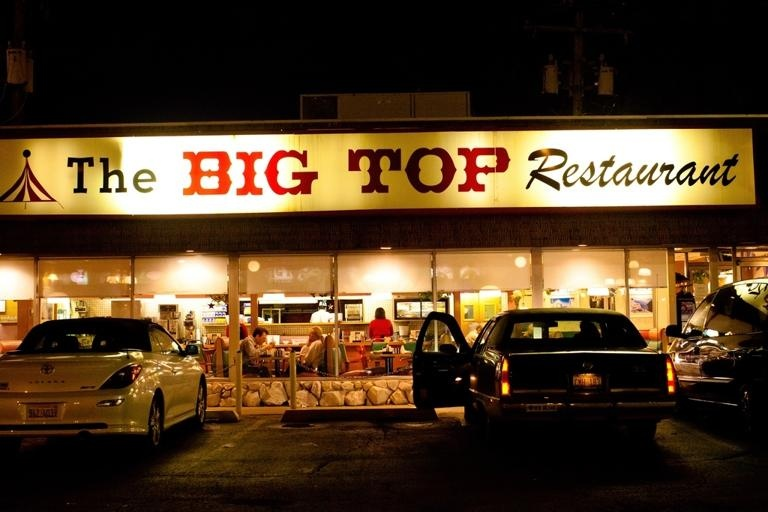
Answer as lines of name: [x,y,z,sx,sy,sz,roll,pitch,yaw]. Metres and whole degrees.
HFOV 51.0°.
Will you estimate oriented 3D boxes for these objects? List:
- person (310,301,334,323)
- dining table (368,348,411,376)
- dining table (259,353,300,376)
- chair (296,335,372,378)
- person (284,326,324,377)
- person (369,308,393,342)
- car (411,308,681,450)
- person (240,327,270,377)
person: [-1.594,1.457,21.124,0.553,0.397,1.261,8,-32,1]
dining table: [0.164,2.670,20.325,1.062,0.604,1.164,-1,-6,0]
dining table: [-2.563,2.767,20.319,0.893,0.844,0.881,0,1,3]
chair: [-1.227,2.525,20.008,1.602,0.701,1.045,0,0,0]
person: [-1.833,2.388,19.914,0.905,1.233,0.888,1,-10,-6]
person: [-0.047,1.714,20.428,0.610,0.842,0.543,-2,-7,1]
car: [2.593,1.985,14.032,2.952,1.134,3.242,0,-1,-6]
person: [-3.175,2.397,20.160,0.664,1.192,1.196,-1,-6,1]
